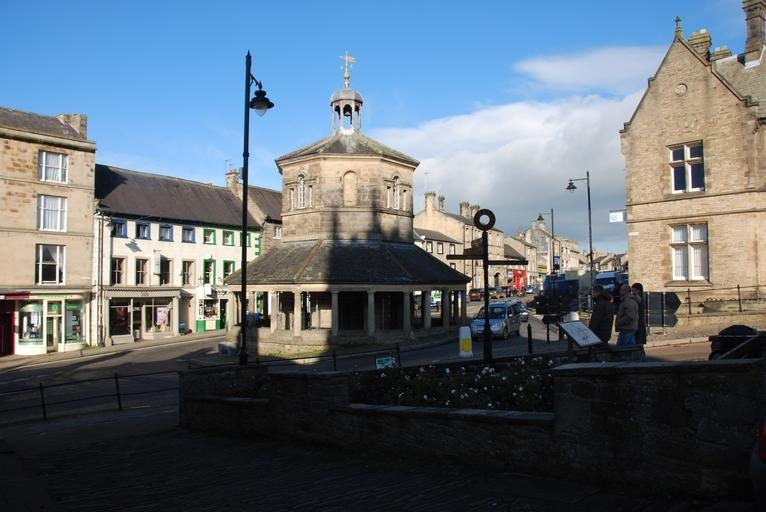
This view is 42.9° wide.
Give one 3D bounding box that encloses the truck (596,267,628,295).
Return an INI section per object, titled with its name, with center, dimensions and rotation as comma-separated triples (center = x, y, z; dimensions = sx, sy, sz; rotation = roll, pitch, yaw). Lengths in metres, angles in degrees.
[truck]
center = 13.573, 1.454, 57.543
dimensions = 2.302, 1.113, 1.363
rotation = 6, -9, -41

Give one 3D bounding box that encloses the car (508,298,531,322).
[car]
center = 7.869, 3.062, 55.565
dimensions = 1.373, 0.892, 2.851
rotation = -1, -9, 7
